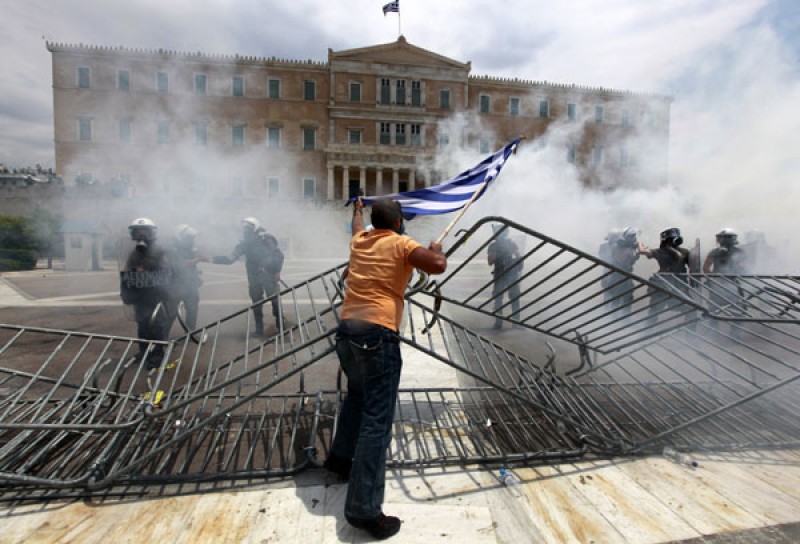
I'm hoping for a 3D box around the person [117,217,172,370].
[{"bbox_3d":[-3.671,0.108,7.624,0.660,1.703,0.642,2,10,-8],"label":"person"}]

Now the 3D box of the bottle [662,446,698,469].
[{"bbox_3d":[2.916,1.892,5.526,0.145,0.070,0.252,-16,27,-42],"label":"bottle"}]

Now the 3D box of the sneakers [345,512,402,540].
[{"bbox_3d":[-0.236,2.246,4.775,0.438,0.186,0.210,2,4,-8],"label":"sneakers"}]

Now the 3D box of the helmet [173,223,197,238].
[{"bbox_3d":[-3.750,-0.716,9.206,0.333,0.166,0.228,-9,9,10],"label":"helmet"}]

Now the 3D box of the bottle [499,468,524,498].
[{"bbox_3d":[1.100,2.043,5.231,0.141,0.062,0.246,-3,17,-16],"label":"bottle"}]

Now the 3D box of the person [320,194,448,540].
[{"bbox_3d":[-0.231,0.806,5.059,0.894,2.964,1.114,3,10,-7],"label":"person"}]
